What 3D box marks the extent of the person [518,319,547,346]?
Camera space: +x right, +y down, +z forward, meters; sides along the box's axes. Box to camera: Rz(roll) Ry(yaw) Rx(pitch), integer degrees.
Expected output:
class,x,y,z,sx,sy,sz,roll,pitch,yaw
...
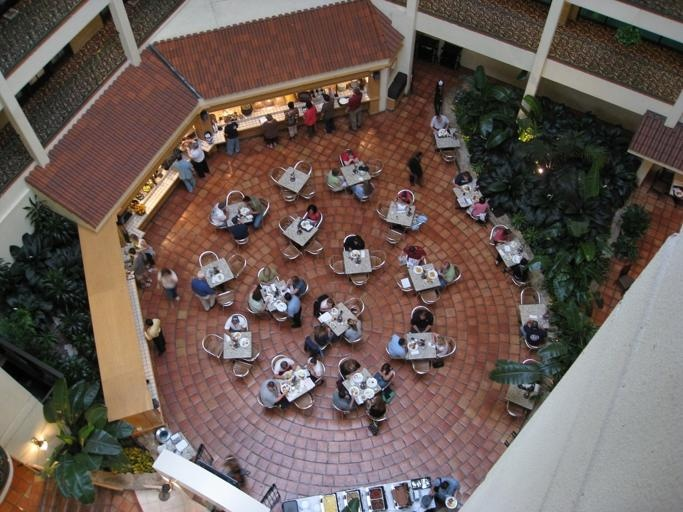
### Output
class,x,y,z,sx,sy,sz,roll,pitch,yaw
person,5.835,2.342,15.989,0.614,1.404,0.860,2,78,17

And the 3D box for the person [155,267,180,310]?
class,x,y,z,sx,sy,sz,roll,pitch,yaw
person,-5.460,1.008,16.606,0.575,1.582,0.567,-15,48,-15

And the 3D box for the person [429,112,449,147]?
class,x,y,z,sx,sy,sz,roll,pitch,yaw
person,3.723,-4.735,20.075,0.616,1.836,0.667,5,68,15

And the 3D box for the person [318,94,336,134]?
class,x,y,z,sx,sy,sz,roll,pitch,yaw
person,-0.521,-5.408,19.945,0.468,1.790,0.704,33,66,19

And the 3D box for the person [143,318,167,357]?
class,x,y,z,sx,sy,sz,roll,pitch,yaw
person,-5.740,2.521,16.023,0.448,1.566,0.641,-3,40,-16

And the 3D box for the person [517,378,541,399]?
class,x,y,z,sx,sy,sz,roll,pitch,yaw
person,5.399,3.856,15.120,0.861,0.298,0.690,-6,89,16

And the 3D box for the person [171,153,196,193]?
class,x,y,z,sx,sy,sz,roll,pitch,yaw
person,-5.590,-3.021,18.785,0.642,1.733,0.585,-16,62,-9

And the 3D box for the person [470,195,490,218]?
class,x,y,z,sx,sy,sz,roll,pitch,yaw
person,4.667,-1.667,18.090,0.560,0.708,0.263,-36,111,-6
